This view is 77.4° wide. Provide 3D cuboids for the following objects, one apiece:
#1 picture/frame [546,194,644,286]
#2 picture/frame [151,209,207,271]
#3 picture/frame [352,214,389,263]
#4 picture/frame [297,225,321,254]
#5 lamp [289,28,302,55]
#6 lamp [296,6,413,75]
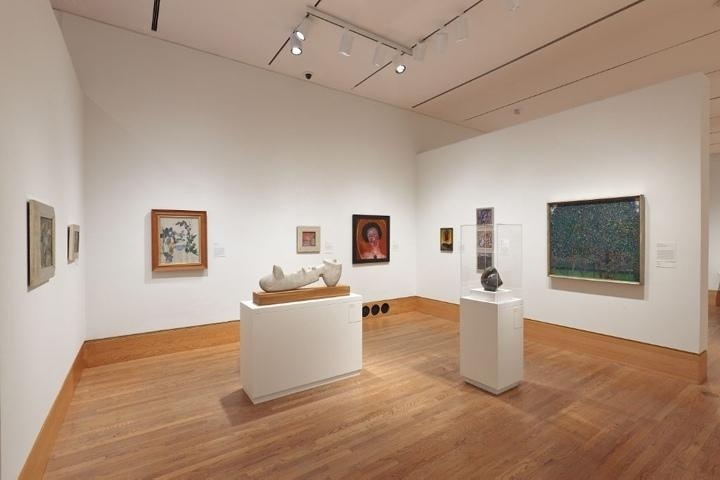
[{"bbox_3d":[4.578,-0.004,8.586,0.181,1.746,1.782,3,-2,-44],"label":"picture/frame"},{"bbox_3d":[-3.637,0.015,8.894,1.192,1.526,0.148,-1,0,-36],"label":"picture/frame"},{"bbox_3d":[0.227,-0.030,11.350,1.173,1.291,0.084,-3,4,-32],"label":"picture/frame"},{"bbox_3d":[-1.210,-0.017,10.398,0.635,0.651,0.047,1,-2,-39],"label":"picture/frame"},{"bbox_3d":[-1.171,-3.757,8.513,0.282,0.402,0.264,-1,1,-38],"label":"lamp"},{"bbox_3d":[-0.104,-3.905,8.690,1.722,0.576,0.245,18,1,-35],"label":"lamp"}]
